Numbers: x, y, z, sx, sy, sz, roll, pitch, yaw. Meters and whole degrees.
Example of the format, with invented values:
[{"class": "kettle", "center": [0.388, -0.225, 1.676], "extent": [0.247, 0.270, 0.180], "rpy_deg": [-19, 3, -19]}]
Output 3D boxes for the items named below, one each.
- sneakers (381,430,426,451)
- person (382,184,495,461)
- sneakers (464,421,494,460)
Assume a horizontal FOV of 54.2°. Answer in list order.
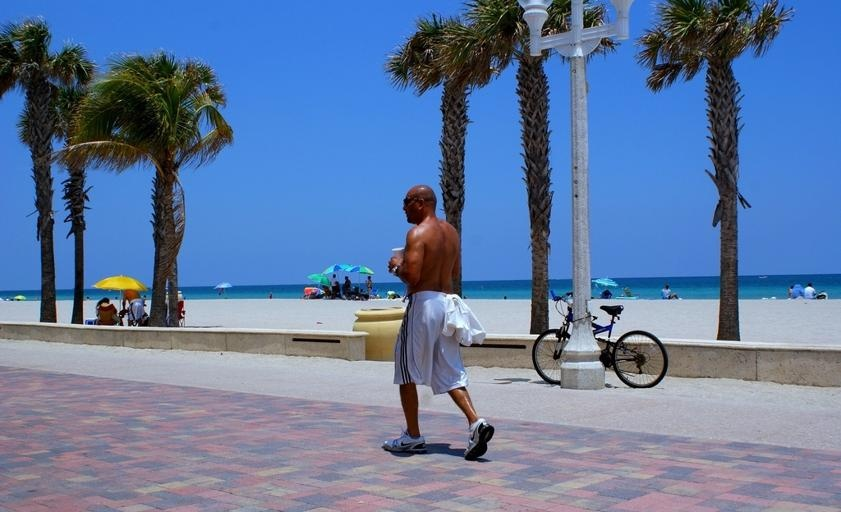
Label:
[{"class": "sneakers", "center": [-0.214, 2.327, 10.333], "extent": [0.546, 0.218, 0.215], "rpy_deg": [2, -7, 6]}, {"class": "person", "center": [0.227, 0.788, 10.246], "extent": [1.227, 3.310, 0.762], "rpy_deg": [0, 6, 14]}, {"class": "sneakers", "center": [0.755, 2.210, 9.999], "extent": [0.265, 0.552, 0.271], "rpy_deg": [2, 36, -33]}]
